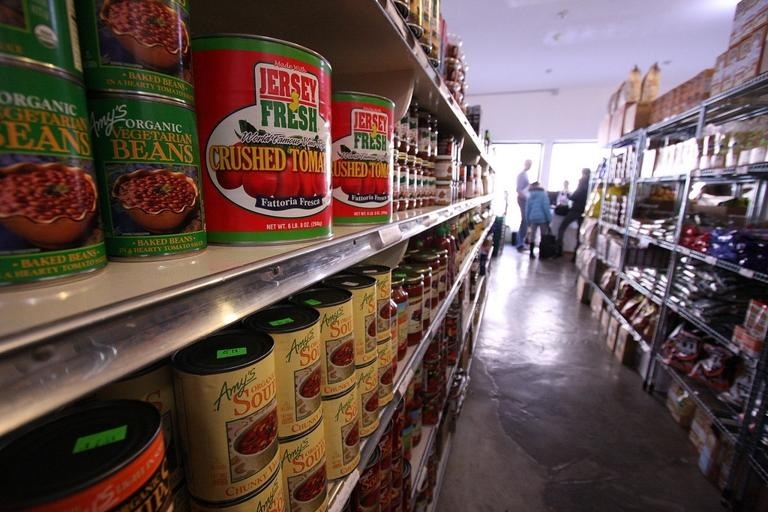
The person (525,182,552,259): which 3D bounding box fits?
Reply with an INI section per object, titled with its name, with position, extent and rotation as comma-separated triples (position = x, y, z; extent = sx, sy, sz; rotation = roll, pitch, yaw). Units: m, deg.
[person]
position = 2.784, -0.659, 8.380
extent = 0.465, 1.332, 0.864
rotation = 5, 13, 16
